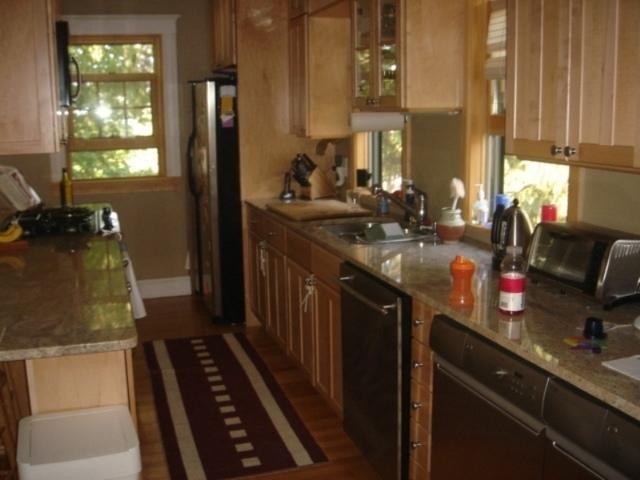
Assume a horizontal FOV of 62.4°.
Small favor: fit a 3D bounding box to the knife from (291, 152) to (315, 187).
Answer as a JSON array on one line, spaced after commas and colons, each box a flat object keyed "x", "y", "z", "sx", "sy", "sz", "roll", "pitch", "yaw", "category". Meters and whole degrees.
[{"x": -0.140, "y": -0.581, "z": 4.384, "sx": 0.168, "sy": 0.260, "sz": 0.281, "roll": -12, "pitch": 17, "yaw": -33, "category": "knife"}]

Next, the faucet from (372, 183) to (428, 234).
[{"x": 0.499, "y": -0.216, "z": 3.235, "sx": 0.087, "sy": 0.272, "sz": 0.453, "roll": -17, "pitch": 17, "yaw": -33, "category": "faucet"}]

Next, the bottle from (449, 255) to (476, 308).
[{"x": 0.517, "y": 0.147, "z": 1.938, "sx": 0.128, "sy": 0.187, "sz": 0.130, "roll": 0, "pitch": 9, "yaw": 0, "category": "bottle"}]

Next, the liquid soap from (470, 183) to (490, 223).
[{"x": 0.873, "y": -0.190, "z": 2.876, "sx": 0.085, "sy": 0.214, "sz": 0.118, "roll": 1, "pitch": 15, "yaw": 14, "category": "liquid soap"}]

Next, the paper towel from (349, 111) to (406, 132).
[{"x": 0.325, "y": -0.692, "z": 3.068, "sx": 0.317, "sy": 0.118, "sz": 0.150, "roll": 2, "pitch": 15, "yaw": 17, "category": "paper towel"}]

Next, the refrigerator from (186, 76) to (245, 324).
[{"x": -0.911, "y": -0.356, "z": 4.698, "sx": 0.464, "sy": 2.093, "sz": 0.695, "roll": -6, "pitch": 15, "yaw": -13, "category": "refrigerator"}]

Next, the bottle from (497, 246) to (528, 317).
[{"x": 0.692, "y": 0.134, "z": 1.893, "sx": 0.088, "sy": 0.193, "sz": 0.279, "roll": 3, "pitch": 15, "yaw": 21, "category": "bottle"}]
